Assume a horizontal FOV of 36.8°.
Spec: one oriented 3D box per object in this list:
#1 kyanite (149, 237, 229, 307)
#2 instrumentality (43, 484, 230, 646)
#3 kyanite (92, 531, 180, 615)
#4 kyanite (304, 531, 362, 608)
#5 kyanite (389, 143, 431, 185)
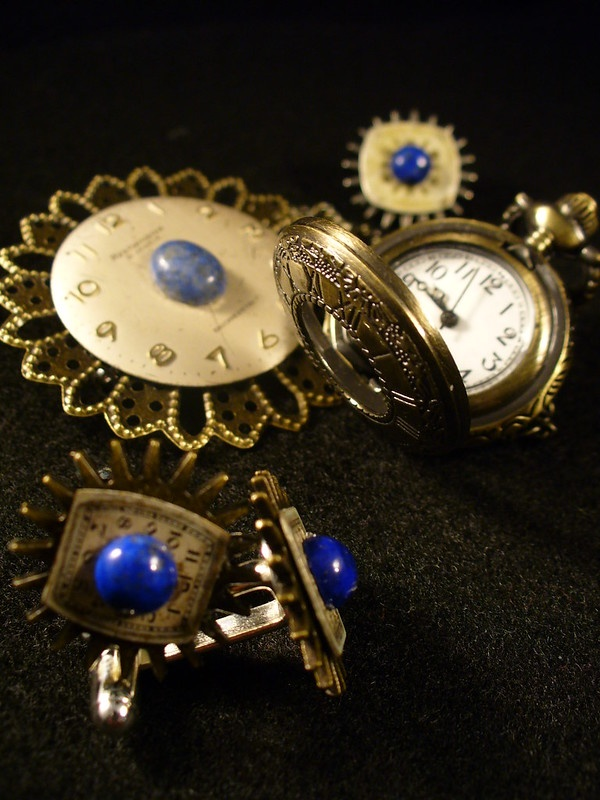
[{"bbox_3d":[-0.200,-0.225,1.606,0.132,0.088,0.093,4,55,-4],"label":"kyanite"},{"bbox_3d":[-0.241,0.232,1.230,0.304,0.073,0.209,14,70,-42],"label":"instrumentality"},{"bbox_3d":[-0.224,0.235,1.217,0.118,0.058,0.099,-20,78,-20],"label":"kyanite"},{"bbox_3d":[0.042,0.225,1.214,0.090,0.057,0.089,-2,68,-48],"label":"kyanite"},{"bbox_3d":[0.224,-0.485,1.862,0.093,0.074,0.022,0,17,19],"label":"kyanite"}]
